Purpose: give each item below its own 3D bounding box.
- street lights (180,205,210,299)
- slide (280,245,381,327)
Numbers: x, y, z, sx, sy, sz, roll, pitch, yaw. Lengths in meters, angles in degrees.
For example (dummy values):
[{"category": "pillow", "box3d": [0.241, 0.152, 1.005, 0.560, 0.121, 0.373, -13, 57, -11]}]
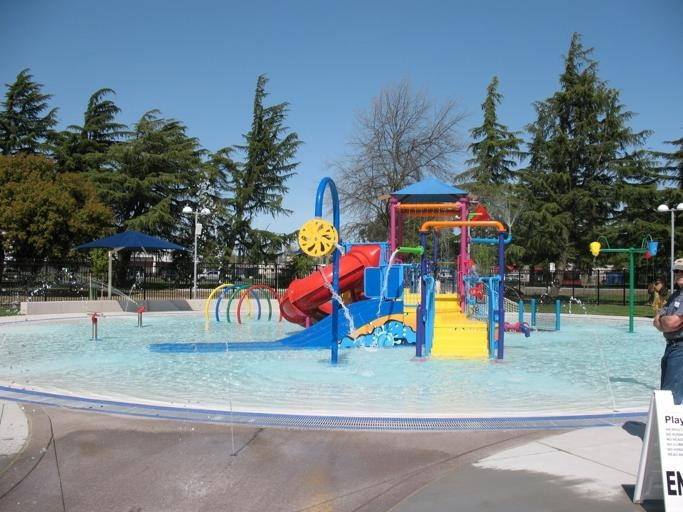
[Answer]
[{"category": "street lights", "box3d": [-9.177, -0.220, 38.317, 0.938, 6.367, 0.918, 0, 5, -33]}, {"category": "slide", "box3d": [-0.228, 0.849, 19.084, 2.774, 2.367, 2.538, 0, 2, 24]}]
